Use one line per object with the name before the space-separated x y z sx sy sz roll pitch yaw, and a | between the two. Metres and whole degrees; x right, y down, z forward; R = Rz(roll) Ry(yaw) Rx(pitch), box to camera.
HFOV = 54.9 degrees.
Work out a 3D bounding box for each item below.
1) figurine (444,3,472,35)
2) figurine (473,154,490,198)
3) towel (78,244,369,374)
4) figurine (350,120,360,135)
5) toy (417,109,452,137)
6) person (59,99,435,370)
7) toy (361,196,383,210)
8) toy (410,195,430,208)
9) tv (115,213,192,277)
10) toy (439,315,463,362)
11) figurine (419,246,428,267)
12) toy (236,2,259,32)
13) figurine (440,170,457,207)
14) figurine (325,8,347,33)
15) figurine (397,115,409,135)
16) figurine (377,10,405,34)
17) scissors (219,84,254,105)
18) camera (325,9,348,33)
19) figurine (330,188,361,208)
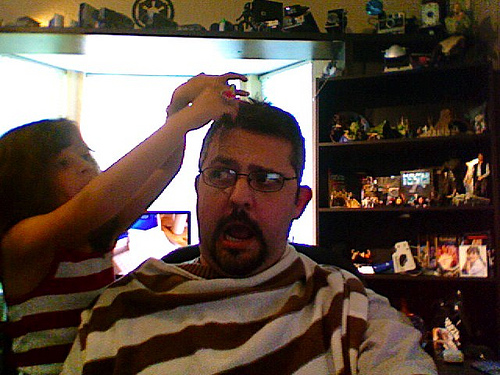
figurine | 1.163 -0.940 2.688 0.172 0.183 0.062 -5 9 -1
figurine | 1.239 -0.063 2.575 0.074 0.198 0.063 3 0 -20
towel | -0.097 0.464 1.869 1.079 0.470 0.308 2 0 2
figurine | 0.582 -0.337 2.678 0.045 0.055 0.028 8 -20 23
toy | 1.052 -0.323 2.745 0.170 0.188 0.211 4 -5 -22
person | -0.012 0.161 1.877 1.270 1.035 0.350 2 0 4
toy | 0.677 0.078 2.648 0.120 0.063 0.034 2 0 -16
toy | 0.922 0.075 2.607 0.100 0.059 0.060 2 -1 16
tv | -0.435 0.257 2.109 0.331 0.196 0.014 6 -22 -27
toy | 1.030 0.785 2.466 0.111 0.183 0.132 2 4 1
figurine | 0.950 0.378 2.624 0.043 0.096 0.043 2 0 4
toy | -0.008 -0.910 2.551 0.109 0.156 0.060 2 -1 32
figurine | 1.091 0.008 2.633 0.076 0.170 0.188 2 0 29
figurine | 0.478 -0.911 2.651 0.127 0.144 0.136 0 5 14
figurine | 0.875 -0.358 2.742 0.078 0.087 0.036 0 2 -1
figurine | 0.786 -0.914 2.656 0.147 0.126 0.118 2 0 0
scissors | -0.057 -0.389 2.021 0.108 0.026 0.101 21 20 0
camera | 0.471 -0.909 2.624 0.125 0.142 0.141 0 2 15
figurine | 0.523 0.059 2.633 0.111 0.057 0.141 3 -8 2
